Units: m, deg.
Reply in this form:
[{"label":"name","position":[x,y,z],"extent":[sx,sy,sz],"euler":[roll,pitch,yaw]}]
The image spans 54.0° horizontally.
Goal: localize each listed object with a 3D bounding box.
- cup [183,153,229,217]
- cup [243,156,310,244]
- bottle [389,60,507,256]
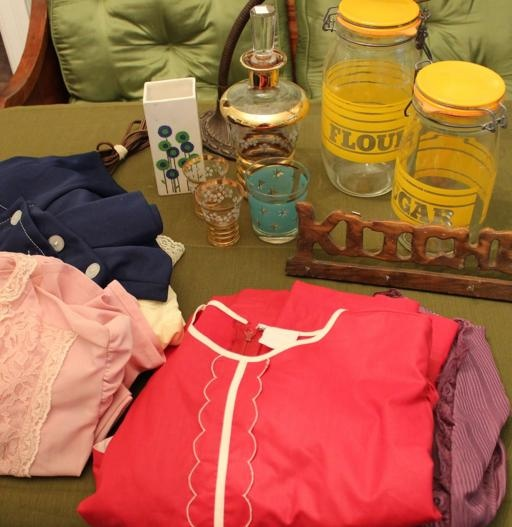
[{"label":"cup","position":[-0.073,-0.145,0.830],"extent":[0.086,0.105,0.090],"euler":[-1,49,1]},{"label":"cup","position":[0.030,-0.096,0.760],"extent":[0.097,0.116,0.108],"euler":[-1,50,2]},{"label":"bottle","position":[0.257,-0.134,0.641],"extent":[0.147,0.217,0.206],"euler":[10,52,14]}]
